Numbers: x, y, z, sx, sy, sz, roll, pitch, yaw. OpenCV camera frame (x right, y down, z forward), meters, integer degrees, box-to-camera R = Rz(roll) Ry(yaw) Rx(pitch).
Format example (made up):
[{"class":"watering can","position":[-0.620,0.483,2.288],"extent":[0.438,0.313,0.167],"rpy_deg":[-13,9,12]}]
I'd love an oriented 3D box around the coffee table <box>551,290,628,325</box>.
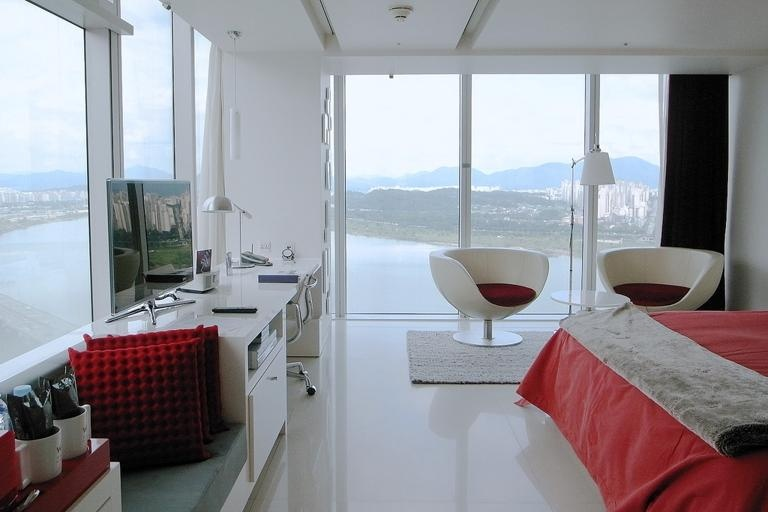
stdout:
[{"class":"coffee table","position":[1.878,0.403,4.882],"extent":[0.481,0.209,0.472],"rpy_deg":[-1,6,-2]}]

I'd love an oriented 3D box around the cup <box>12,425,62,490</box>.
[{"class":"cup","position":[-1.343,0.781,2.031],"extent":[0.132,0.177,0.208],"rpy_deg":[-3,1,0]}]

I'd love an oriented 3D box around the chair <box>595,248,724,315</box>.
[{"class":"chair","position":[2.951,0.200,5.696],"extent":[0.905,0.548,0.880],"rpy_deg":[1,1,38]}]

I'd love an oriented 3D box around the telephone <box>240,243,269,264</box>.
[{"class":"telephone","position":[-1.202,-0.024,4.968],"extent":[0.246,0.167,0.171],"rpy_deg":[0,7,-4]}]

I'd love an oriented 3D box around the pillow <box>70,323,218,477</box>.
[{"class":"pillow","position":[-1.164,0.698,2.890],"extent":[0.711,0.639,0.639],"rpy_deg":[-3,-1,-2]}]

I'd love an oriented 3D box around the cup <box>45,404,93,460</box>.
[{"class":"cup","position":[-1.269,0.713,2.194],"extent":[0.120,0.163,0.191],"rpy_deg":[-3,-1,-4]}]
